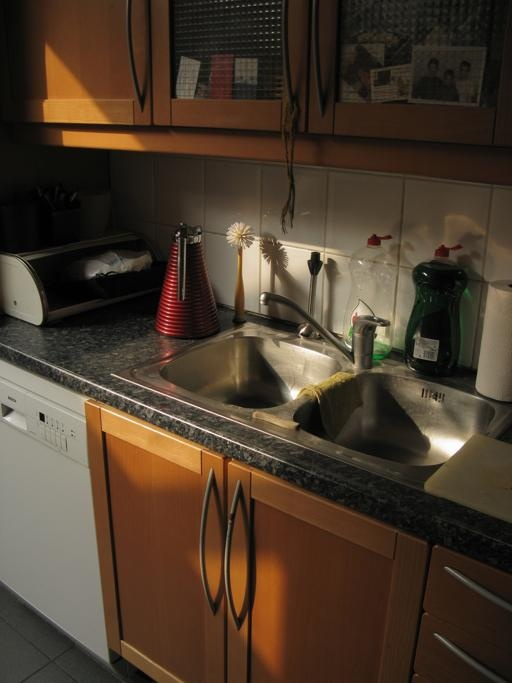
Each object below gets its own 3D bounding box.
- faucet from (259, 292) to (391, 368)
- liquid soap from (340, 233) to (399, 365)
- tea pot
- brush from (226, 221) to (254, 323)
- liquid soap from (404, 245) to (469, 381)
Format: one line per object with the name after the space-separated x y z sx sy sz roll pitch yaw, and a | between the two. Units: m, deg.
0.175 -0.039 1.288 0.292 0.165 0.220 7 15 15 | faucet
0.287 -0.104 1.338 0.106 0.336 0.094 14 26 29 | liquid soap
-0.175 -0.154 1.373 0.173 0.298 0.138 -1 14 -12 | tea pot
-0.045 -0.202 1.522 0.087 0.286 0.089 -1 4 -31 | brush
0.414 -0.069 1.245 0.123 0.293 0.125 16 22 40 | liquid soap
